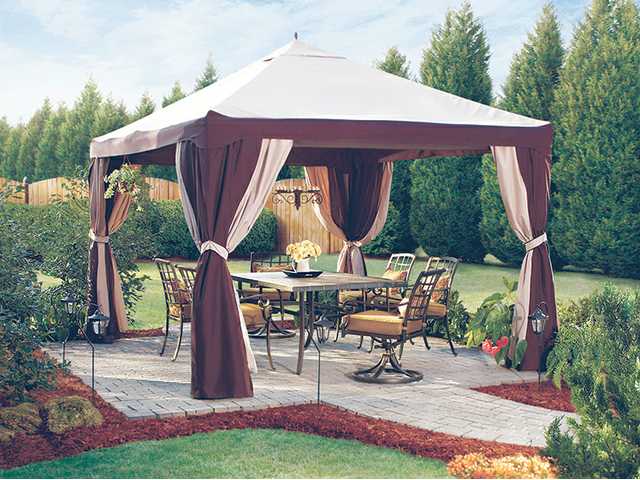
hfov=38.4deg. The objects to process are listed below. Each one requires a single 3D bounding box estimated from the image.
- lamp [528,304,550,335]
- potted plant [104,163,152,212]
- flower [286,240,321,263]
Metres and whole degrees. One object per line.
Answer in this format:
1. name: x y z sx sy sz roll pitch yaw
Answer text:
1. lamp: 2.949 1.120 12.514 0.253 0.455 0.666 4 13 15
2. potted plant: -2.953 -0.795 14.061 0.647 0.536 0.662 0 3 -38
3. flower: -0.324 0.158 13.534 0.367 0.179 0.396 -3 6 -40
